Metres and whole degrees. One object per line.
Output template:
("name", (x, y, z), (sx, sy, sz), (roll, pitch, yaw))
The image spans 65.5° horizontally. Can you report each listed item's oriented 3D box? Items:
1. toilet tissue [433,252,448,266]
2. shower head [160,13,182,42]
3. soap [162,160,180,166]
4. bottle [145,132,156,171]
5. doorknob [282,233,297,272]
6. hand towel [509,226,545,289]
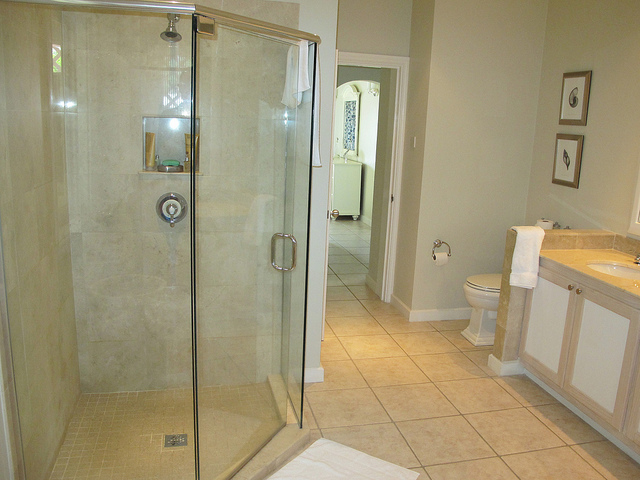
("toilet tissue", (1.148, 0.175, 4.691), (0.114, 0.108, 0.112), (-4, 31, -7))
("shower head", (-0.792, -1.125, 2.669), (0.117, 0.140, 0.136), (1, -3, 1))
("soap", (-0.859, -0.450, 2.893), (0.122, 0.039, 0.012), (9, 16, 27))
("bottle", (-1.006, -0.526, 2.953), (0.064, 0.255, 0.039), (2, 36, -18))
("doorknob", (-0.184, 0.083, 3.011), (0.118, 0.229, 0.048), (13, 18, 38))
("hand towel", (1.525, 0.131, 3.731), (0.169, 0.443, 0.252), (2, 15, -7))
